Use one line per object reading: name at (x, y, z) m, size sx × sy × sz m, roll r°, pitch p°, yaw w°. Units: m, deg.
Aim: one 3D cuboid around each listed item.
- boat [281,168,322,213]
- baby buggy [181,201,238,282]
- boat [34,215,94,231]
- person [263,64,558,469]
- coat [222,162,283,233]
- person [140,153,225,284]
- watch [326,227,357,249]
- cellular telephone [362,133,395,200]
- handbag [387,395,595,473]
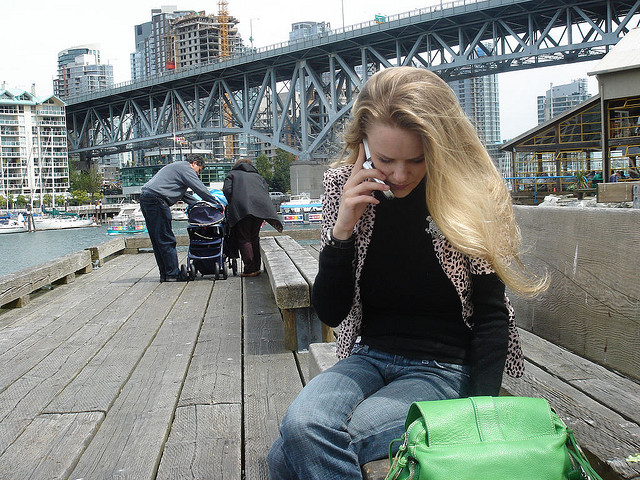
boat at (-1.382, -4.253, 42.908) m, size 4.149 × 4.351 × 1.434 m, roll 0°, pitch 2°, yaw 19°
baby buggy at (-1.415, -0.014, 6.428) m, size 0.557 × 0.952 × 0.933 m, roll -2°, pitch 6°, yaw -1°
boat at (-32.764, -2.066, 64.088) m, size 5.486 × 1.406 × 1.754 m, roll -5°, pitch 5°, yaw -44°
person at (0.248, 0.042, 1.469) m, size 0.695 × 1.147 × 0.667 m, roll 2°, pitch 5°, yaw 24°
coat at (-0.877, -0.555, 6.459) m, size 0.711 × 0.871 × 0.531 m, roll -2°, pitch 5°, yaw -11°
person at (-1.751, -0.234, 6.181) m, size 0.803 × 1.445 × 0.486 m, roll -3°, pitch 5°, yaw -20°
watch at (0.065, -0.006, 1.673) m, size 0.109 × 0.061 × 0.088 m, roll 1°, pitch 5°, yaw 19°
cellular telephone at (0.181, -0.227, 1.554) m, size 0.048 × 0.212 × 0.035 m, roll -26°, pitch -8°, yaw -19°
handbag at (0.391, 0.466, 1.180) m, size 0.456 × 0.163 × 0.169 m, roll 0°, pitch 5°, yaw 6°
